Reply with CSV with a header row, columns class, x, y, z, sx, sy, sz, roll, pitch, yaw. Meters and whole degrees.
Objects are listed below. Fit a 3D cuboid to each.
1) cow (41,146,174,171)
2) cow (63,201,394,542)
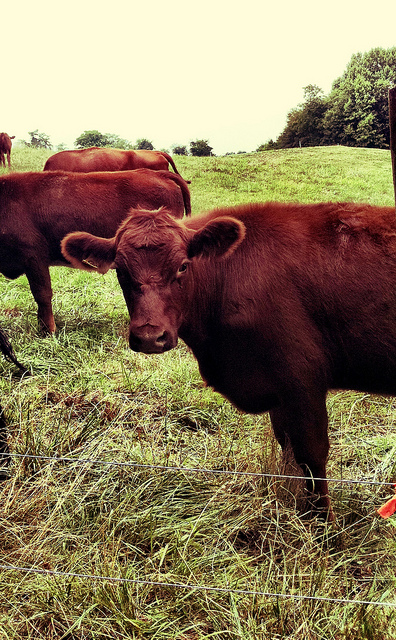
class,x,y,z,sx,sy,sz,roll,pitch,yaw
cow,-1.479,-2.671,9.380,1.896,0.380,0.521,-11,15,-31
cow,0.344,0.228,2.831,1.326,1.559,0.695,-4,13,-3
